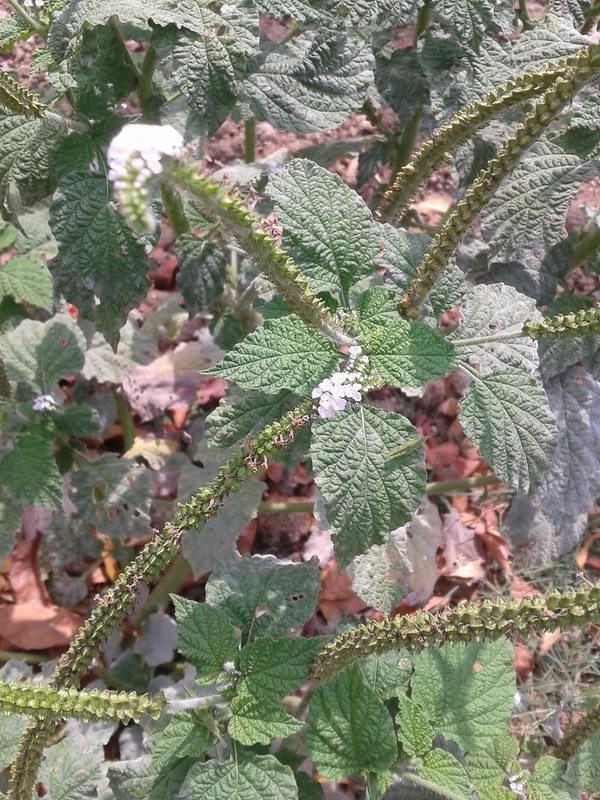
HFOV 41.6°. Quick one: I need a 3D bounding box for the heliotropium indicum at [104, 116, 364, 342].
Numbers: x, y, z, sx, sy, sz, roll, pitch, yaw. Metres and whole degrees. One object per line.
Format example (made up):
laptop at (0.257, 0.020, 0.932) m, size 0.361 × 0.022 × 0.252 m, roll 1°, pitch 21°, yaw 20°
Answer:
heliotropium indicum at (-0.031, -0.163, 1.286) m, size 0.147 × 0.717 × 0.147 m, roll -12°, pitch 60°, yaw 35°
